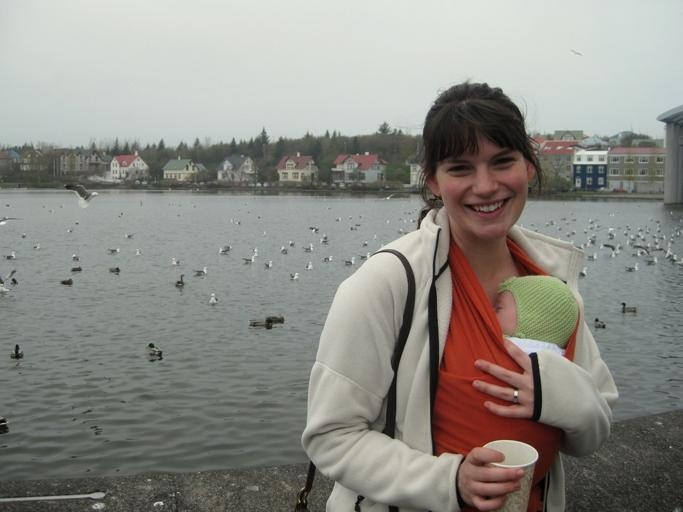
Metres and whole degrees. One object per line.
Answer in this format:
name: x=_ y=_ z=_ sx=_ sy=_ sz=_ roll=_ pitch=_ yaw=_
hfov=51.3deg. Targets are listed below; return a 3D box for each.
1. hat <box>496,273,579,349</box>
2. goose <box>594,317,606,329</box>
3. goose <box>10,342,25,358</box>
hat: x=1.171 y=0.333 z=4.324 sx=0.504 sy=0.429 sz=0.377 roll=4 pitch=-6 yaw=-15
goose: x=5.998 y=1.587 z=16.519 sx=0.185 sy=0.220 sz=0.509 roll=1 pitch=10 yaw=6
goose: x=-6.471 y=1.882 z=14.109 sx=0.286 sy=0.330 sz=0.291 roll=2 pitch=-4 yaw=-6
